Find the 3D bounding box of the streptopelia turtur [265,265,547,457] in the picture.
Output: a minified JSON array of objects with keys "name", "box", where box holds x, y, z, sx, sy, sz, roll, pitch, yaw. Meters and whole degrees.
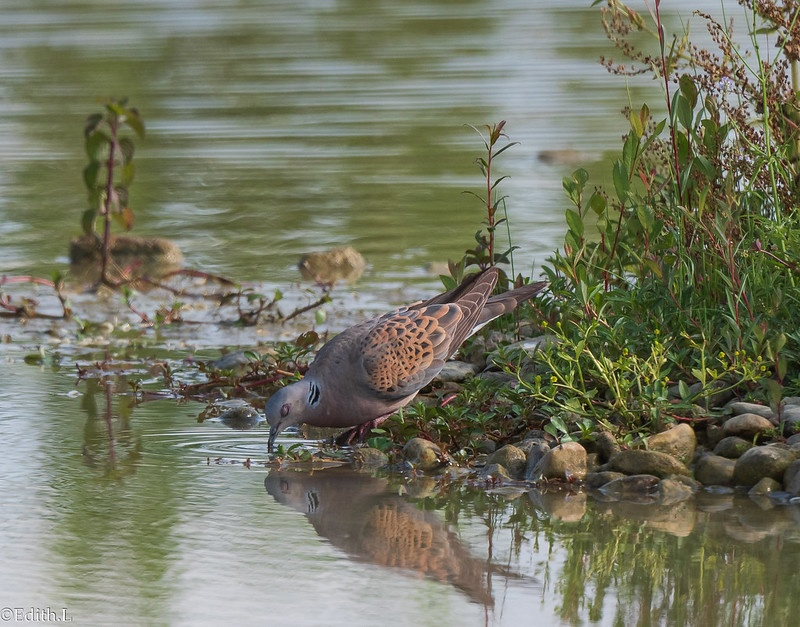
[{"name":"streptopelia turtur","box":[-0.029,0.230,5.947,1.297,0.882,0.404,-4,10,-38]}]
